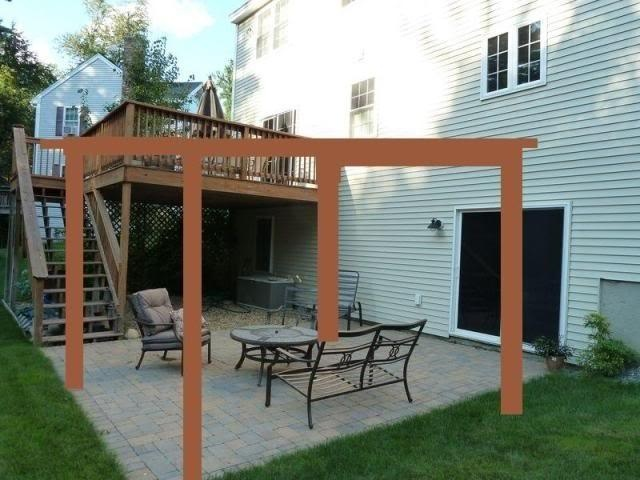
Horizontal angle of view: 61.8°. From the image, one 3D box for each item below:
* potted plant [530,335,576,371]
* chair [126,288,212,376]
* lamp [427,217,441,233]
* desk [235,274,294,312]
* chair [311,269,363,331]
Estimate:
[{"bbox_3d":[3.703,1.721,8.454,0.535,0.533,0.421,3,-4,-42],"label":"potted plant"},{"bbox_3d":[-2.326,1.376,8.467,1.144,1.185,1.201,-1,-1,38],"label":"chair"},{"bbox_3d":[2.212,-0.294,10.336,0.143,0.269,0.316,-6,9,-42],"label":"lamp"},{"bbox_3d":[-1.403,1.308,13.530,0.602,0.805,1.592,-6,9,-42],"label":"desk"},{"bbox_3d":[0.388,1.373,11.671,0.970,1.324,0.966,0,3,15],"label":"chair"}]
